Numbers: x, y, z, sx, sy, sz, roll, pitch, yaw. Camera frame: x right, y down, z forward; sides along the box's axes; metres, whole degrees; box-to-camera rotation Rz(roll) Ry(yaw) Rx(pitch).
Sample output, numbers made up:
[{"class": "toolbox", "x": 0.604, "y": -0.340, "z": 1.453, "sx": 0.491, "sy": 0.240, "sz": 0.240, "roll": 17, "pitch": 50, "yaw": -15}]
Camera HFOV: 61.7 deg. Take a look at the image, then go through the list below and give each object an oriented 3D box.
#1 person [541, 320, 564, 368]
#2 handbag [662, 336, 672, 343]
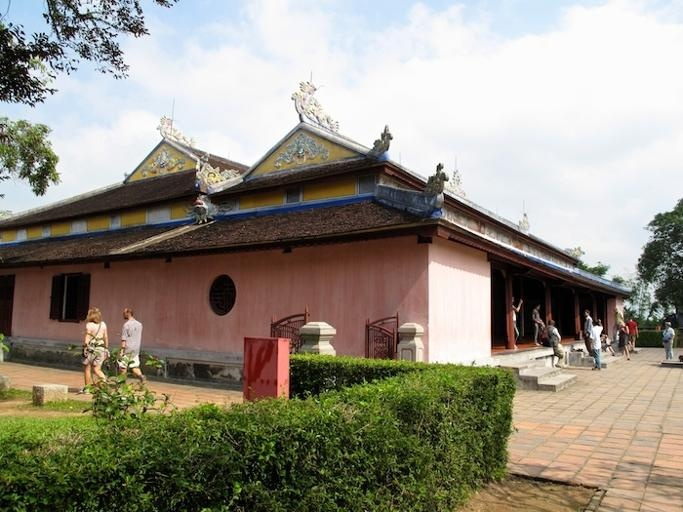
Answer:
[{"class": "person", "x": 6.521, "y": 2.809, "z": 17.480, "sx": 0.507, "sy": 1.510, "sz": 2.542, "roll": 1, "pitch": 0, "yaw": 21}, {"class": "handbag", "x": 11.993, "y": 3.112, "z": 20.989, "sx": 0.259, "sy": 0.229, "sz": 0.342, "roll": 1, "pitch": 1, "yaw": 30}]
